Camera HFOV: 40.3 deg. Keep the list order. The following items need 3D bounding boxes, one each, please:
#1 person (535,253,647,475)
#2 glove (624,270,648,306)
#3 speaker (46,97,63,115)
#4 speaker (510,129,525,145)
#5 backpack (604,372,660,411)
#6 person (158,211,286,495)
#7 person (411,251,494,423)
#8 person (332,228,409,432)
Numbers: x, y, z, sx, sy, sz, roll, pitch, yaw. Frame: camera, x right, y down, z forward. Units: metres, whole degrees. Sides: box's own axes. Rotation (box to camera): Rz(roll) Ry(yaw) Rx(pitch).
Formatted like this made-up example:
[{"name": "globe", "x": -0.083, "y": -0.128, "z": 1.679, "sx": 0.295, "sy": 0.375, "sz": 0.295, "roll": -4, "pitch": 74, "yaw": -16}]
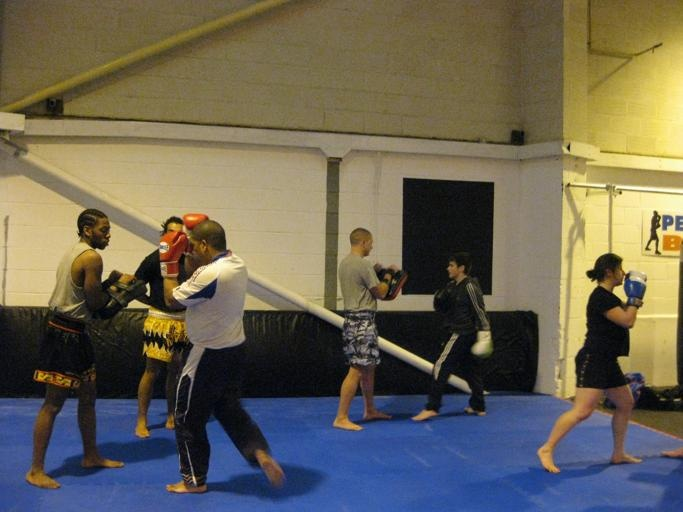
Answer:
[{"name": "person", "x": 2.497, "y": 1.044, "z": 9.173, "sx": 0.987, "sy": 1.996, "sz": 0.483, "roll": 3, "pitch": 1, "yaw": 2}, {"name": "glove", "x": 2.880, "y": 0.353, "z": 9.206, "sx": 0.231, "sy": 0.311, "sz": 0.309, "roll": 4, "pitch": -27, "yaw": 7}, {"name": "speaker", "x": -3.334, "y": -1.721, "z": 10.798, "sx": 0.184, "sy": 0.248, "sz": 0.186, "roll": 1, "pitch": 5, "yaw": -22}, {"name": "speaker", "x": 2.226, "y": -1.492, "z": 11.803, "sx": 0.184, "sy": 0.174, "sz": 0.095, "roll": 2, "pitch": -8, "yaw": -4}, {"name": "backpack", "x": 3.370, "y": 1.556, "z": 10.558, "sx": 0.601, "sy": 0.375, "sz": 0.790, "roll": -12, "pitch": -2, "yaw": 9}, {"name": "person", "x": -1.161, "y": 0.928, "z": 8.522, "sx": 1.105, "sy": 1.865, "sz": 0.478, "roll": 3, "pitch": 1, "yaw": -6}, {"name": "person", "x": 1.298, "y": 0.896, "z": 10.454, "sx": 0.768, "sy": 1.620, "sz": 0.753, "roll": 3, "pitch": 1, "yaw": 9}, {"name": "person", "x": 0.253, "y": 0.775, "z": 10.115, "sx": 0.668, "sy": 1.762, "sz": 0.491, "roll": 2, "pitch": 1, "yaw": -15}]
